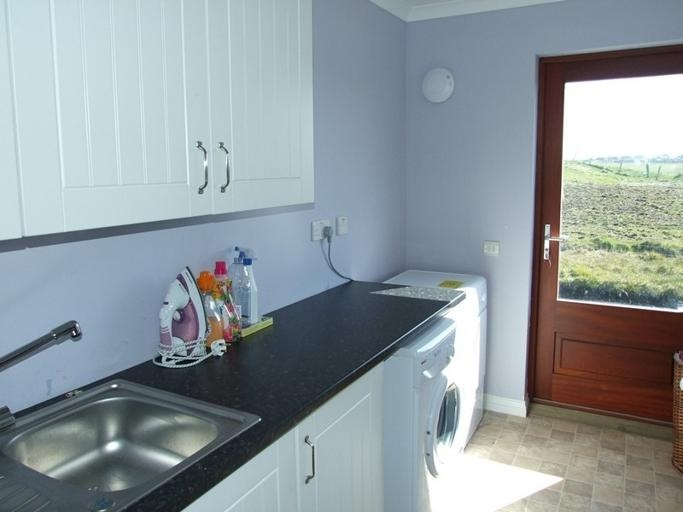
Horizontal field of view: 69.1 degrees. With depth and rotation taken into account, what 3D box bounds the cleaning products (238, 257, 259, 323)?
[{"bbox_3d":[-0.401,0.144,2.215,0.063,0.306,0.151,3,12,18],"label":"cleaning products"}]
